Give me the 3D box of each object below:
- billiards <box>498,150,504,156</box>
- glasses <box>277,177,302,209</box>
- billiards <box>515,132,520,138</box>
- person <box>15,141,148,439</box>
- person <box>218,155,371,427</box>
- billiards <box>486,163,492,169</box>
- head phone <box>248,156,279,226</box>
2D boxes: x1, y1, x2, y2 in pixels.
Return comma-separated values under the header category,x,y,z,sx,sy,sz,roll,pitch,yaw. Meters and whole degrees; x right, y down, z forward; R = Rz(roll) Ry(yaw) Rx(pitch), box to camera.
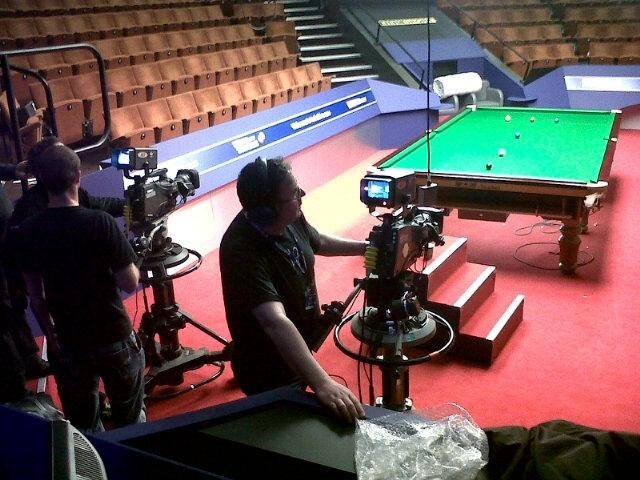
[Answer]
category,x,y,z,sx,sy,sz,roll,pitch,yaw
billiards,2.100,-1.000,5.905,0.055,0.068,0.056,0,12,-15
glasses,-0.131,-0.193,2.187,0.110,0.036,0.112,-1,27,4
billiards,2.577,-1.368,6.670,0.058,0.061,0.062,1,38,12
person,-1.306,0.315,2.762,0.648,1.628,0.280,0,12,4
person,-0.163,0.248,2.202,0.574,1.178,1.174,-1,13,-1
billiards,1.806,-0.787,5.468,0.045,0.067,0.063,-4,6,19
head phone,-0.245,-0.203,2.153,0.091,0.231,0.243,4,10,3
